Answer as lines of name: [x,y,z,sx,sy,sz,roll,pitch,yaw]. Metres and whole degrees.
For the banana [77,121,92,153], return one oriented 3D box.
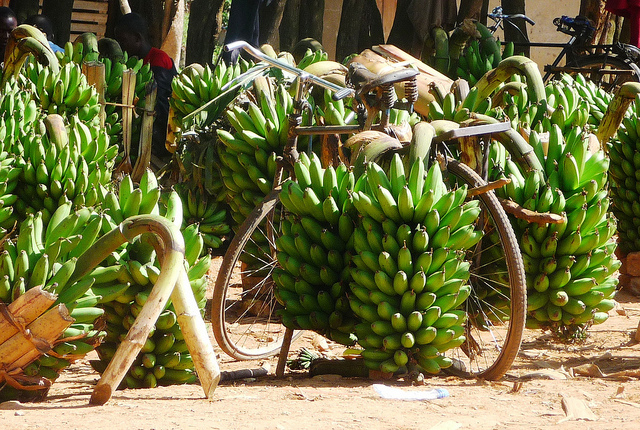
banana: [-2.069,-0.679,6.183,0.080,0.334,0.114,-30,-36,25]

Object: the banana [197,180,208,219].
banana: [-1.309,-0.149,7.939,0.136,0.423,0.100,-1,14,-27]

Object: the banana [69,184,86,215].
banana: [-1.864,-0.107,5.393,0.055,0.234,0.086,28,-15,-15]

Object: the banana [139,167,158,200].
banana: [-1.211,-0.227,5.036,0.075,0.308,0.100,23,-18,-40]

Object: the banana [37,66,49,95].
banana: [-3.043,-1.488,7.793,0.087,0.356,0.115,4,-18,-2]

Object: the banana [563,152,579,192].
banana: [2.047,-0.327,5.685,0.166,0.223,0.598,-7,-13,19]

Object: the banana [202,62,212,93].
banana: [-1.281,-1.557,7.999,0.086,0.381,0.123,-3,-1,-24]

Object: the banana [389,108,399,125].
banana: [0.650,-0.860,6.183,0.034,0.151,0.103,9,9,20]

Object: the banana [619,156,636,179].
banana: [3.327,-0.483,7.607,0.065,0.261,0.087,-23,9,14]

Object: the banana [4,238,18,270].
banana: [-2.048,0.206,4.662,0.077,0.308,0.098,-3,-28,-20]

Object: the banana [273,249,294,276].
banana: [-0.283,0.345,5.353,0.075,0.064,0.235,-17,59,-19]

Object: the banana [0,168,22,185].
banana: [-2.425,-0.305,5.546,0.056,0.069,0.208,47,20,-9]

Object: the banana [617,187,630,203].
banana: [3.330,-0.209,7.717,0.046,0.148,0.151,-5,17,-37]

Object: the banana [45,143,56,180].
banana: [-2.148,-0.419,5.663,0.062,0.294,0.092,2,-12,-8]

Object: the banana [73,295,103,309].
banana: [-1.511,0.571,4.567,0.192,0.056,0.068,-19,-6,-40]

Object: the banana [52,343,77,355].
banana: [-1.665,0.888,4.570,0.195,0.059,0.072,-15,38,42]

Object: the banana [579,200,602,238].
banana: [2.148,0.049,5.570,0.114,0.160,0.438,16,-12,15]

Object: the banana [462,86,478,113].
banana: [1.431,-1.093,6.664,0.075,0.325,0.106,15,7,9]

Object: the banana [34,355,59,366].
banana: [-1.761,0.957,4.558,0.194,0.071,0.056,-14,-30,24]

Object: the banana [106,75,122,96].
banana: [-2.574,-1.590,8.791,0.112,0.172,0.461,-6,-22,-22]

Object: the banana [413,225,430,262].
banana: [0.697,0.201,4.930,0.073,0.281,0.093,12,11,5]

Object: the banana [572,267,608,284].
banana: [2.055,0.479,5.421,0.384,0.111,0.141,3,-24,-36]

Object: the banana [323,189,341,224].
banana: [0.091,-0.042,5.207,0.133,0.244,0.095,7,13,10]

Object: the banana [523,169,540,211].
banana: [1.639,-0.193,5.448,0.080,0.341,0.112,4,-9,12]

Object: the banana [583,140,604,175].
banana: [2.257,-0.441,5.723,0.134,0.359,0.086,4,-38,53]

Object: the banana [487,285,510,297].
banana: [1.415,0.611,5.531,0.117,0.090,0.033,2,24,5]

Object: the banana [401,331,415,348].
banana: [0.610,0.876,4.888,0.079,0.111,0.065,-25,23,10]

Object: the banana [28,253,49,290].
banana: [-1.786,0.378,4.476,0.070,0.306,0.100,10,2,-8]

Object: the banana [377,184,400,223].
banana: [0.487,-0.059,5.017,0.085,0.349,0.116,-10,22,31]

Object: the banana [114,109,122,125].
banana: [-2.555,-1.233,8.922,0.049,0.150,0.180,4,13,-6]

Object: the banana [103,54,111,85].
banana: [-2.657,-1.796,8.796,0.082,0.394,0.128,-1,4,-10]

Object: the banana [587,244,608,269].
banana: [2.167,0.336,5.482,0.090,0.268,0.070,-8,46,-45]

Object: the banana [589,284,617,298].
banana: [2.279,0.612,5.641,0.094,0.142,0.374,4,-4,14]

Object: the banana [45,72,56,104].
banana: [-2.944,-1.381,7.722,0.080,0.357,0.108,0,-3,0]

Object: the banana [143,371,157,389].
banana: [-1.185,1.152,4.924,0.074,0.117,0.066,9,1,39]

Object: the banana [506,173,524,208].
banana: [1.519,-0.174,5.490,0.062,0.254,0.087,-19,-10,-15]

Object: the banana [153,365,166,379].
banana: [-1.122,1.102,4.913,0.061,0.089,0.048,-3,5,-34]

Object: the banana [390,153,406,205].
banana: [0.569,-0.244,5.091,0.083,0.375,0.122,0,-3,-4]

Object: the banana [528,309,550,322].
banana: [1.731,0.797,5.511,0.122,0.089,0.042,6,17,28]

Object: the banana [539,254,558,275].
banana: [1.767,0.389,5.450,0.096,0.168,0.051,12,12,-15]

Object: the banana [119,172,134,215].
banana: [-1.412,-0.163,5.046,0.075,0.314,0.104,18,20,6]

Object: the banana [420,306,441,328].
banana: [0.780,0.717,4.924,0.074,0.240,0.064,-17,52,-37]

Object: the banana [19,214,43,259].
banana: [-1.886,0.137,4.637,0.106,0.171,0.472,4,37,-24]

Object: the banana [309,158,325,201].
banana: [-0.017,-0.263,5.358,0.080,0.356,0.116,-6,2,18]

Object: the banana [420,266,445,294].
banana: [0.798,0.479,4.897,0.073,0.294,0.100,28,11,7]

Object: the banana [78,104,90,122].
banana: [-2.600,-1.103,7.740,0.075,0.064,0.231,-31,11,29]

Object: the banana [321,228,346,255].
banana: [0.116,0.225,5.236,0.110,0.083,0.311,43,-7,33]

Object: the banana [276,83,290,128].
banana: [-0.354,-1.047,6.807,0.096,0.415,0.124,0,0,0]

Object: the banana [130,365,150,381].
banana: [-1.247,1.097,4.875,0.062,0.078,0.128,-18,-36,15]

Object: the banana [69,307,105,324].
banana: [-1.526,0.652,4.565,0.259,0.078,0.088,-1,11,-34]

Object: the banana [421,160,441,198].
banana: [0.807,-0.259,5.065,0.076,0.305,0.100,15,-9,-18]

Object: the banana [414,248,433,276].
banana: [0.721,0.336,4.941,0.070,0.232,0.070,7,27,-38]
